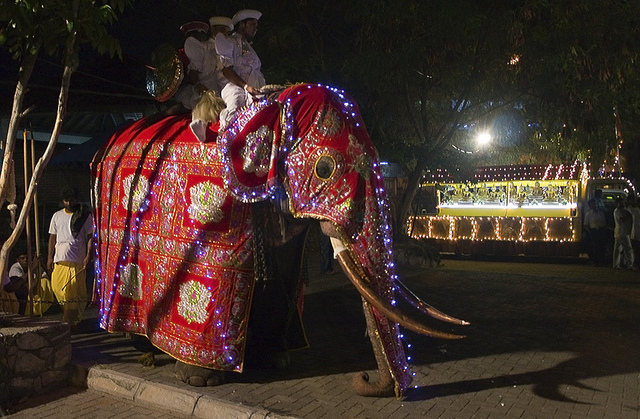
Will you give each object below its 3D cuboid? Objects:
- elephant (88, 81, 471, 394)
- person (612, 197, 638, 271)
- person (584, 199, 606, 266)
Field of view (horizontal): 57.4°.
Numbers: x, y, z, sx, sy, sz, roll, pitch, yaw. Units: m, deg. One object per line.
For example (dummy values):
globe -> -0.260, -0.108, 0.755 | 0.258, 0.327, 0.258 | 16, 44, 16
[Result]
elephant -> -1.051, 0.328, 7.818 | 4.764, 3.916, 1.524 | 5, 10, 32
person -> 8.175, 0.723, 15.676 | 0.533, 1.658, 0.940 | 2, 9, 16
person -> 7.819, 0.623, 16.565 | 0.440, 1.774, 0.576 | -4, 9, -18
